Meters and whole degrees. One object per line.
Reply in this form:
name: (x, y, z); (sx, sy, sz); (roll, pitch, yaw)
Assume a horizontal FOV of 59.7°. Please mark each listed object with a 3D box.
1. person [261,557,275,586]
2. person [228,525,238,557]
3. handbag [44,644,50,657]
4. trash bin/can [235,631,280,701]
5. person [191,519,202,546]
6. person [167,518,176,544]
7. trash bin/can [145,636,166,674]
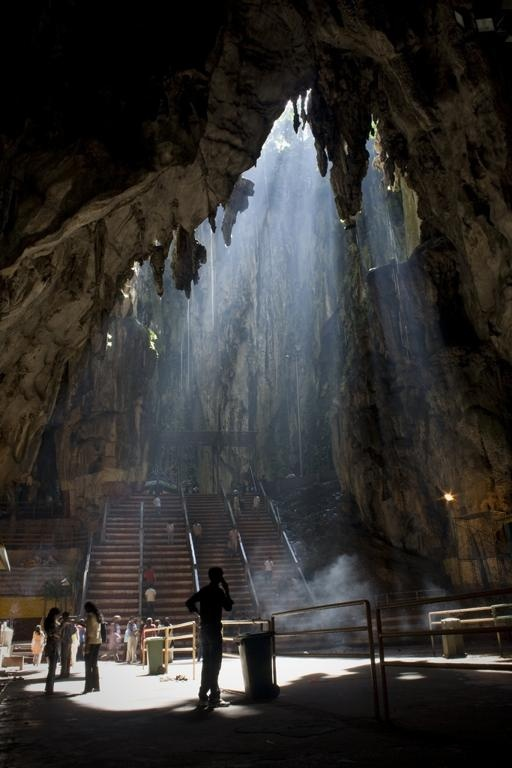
person: (0.456, 7.120, 16.917); (0.385, 0.982, 0.900); (-1, -19, 1)
person: (-0.952, 6.449, 18.216); (0.439, 0.954, 0.918); (0, -19, -3)
handbag: (-3.182, 4.022, 6.732); (0.034, 0.159, 0.235); (8, -22, -28)
trash bin/can: (0.037, 2.904, 4.625); (0.401, 0.591, 0.524); (2, -19, -11)
person: (-2.597, 6.533, 19.466); (0.475, 1.009, 1.933); (1, -21, -8)
person: (-3.646, 6.295, 18.896); (0.395, 1.004, 1.644); (2, -20, -11)
trash bin/can: (-1.845, 4.904, 8.061); (0.314, 0.628, 0.649); (3, -19, -13)
